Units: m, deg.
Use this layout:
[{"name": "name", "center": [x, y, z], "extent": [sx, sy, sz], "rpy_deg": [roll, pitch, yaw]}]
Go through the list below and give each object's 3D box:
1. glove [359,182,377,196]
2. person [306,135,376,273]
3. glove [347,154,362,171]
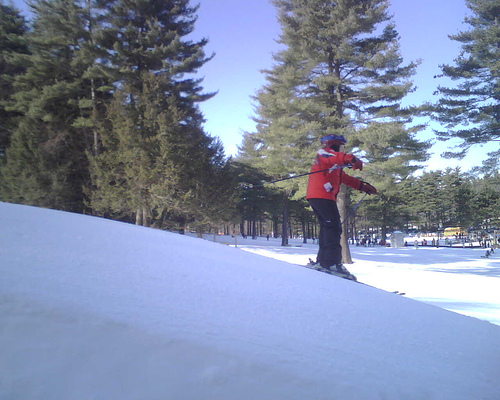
[{"name": "glove", "center": [1.363, -0.133, 5.602], "extent": [0.121, 0.081, 0.204], "rpy_deg": [12, -3, 33]}, {"name": "person", "center": [0.963, 0.017, 5.481], "extent": [0.681, 1.550, 0.671], "rpy_deg": [1, -4, 10]}, {"name": "glove", "center": [1.111, -0.414, 5.215], "extent": [0.141, 0.182, 0.068], "rpy_deg": [21, 41, 34]}]
